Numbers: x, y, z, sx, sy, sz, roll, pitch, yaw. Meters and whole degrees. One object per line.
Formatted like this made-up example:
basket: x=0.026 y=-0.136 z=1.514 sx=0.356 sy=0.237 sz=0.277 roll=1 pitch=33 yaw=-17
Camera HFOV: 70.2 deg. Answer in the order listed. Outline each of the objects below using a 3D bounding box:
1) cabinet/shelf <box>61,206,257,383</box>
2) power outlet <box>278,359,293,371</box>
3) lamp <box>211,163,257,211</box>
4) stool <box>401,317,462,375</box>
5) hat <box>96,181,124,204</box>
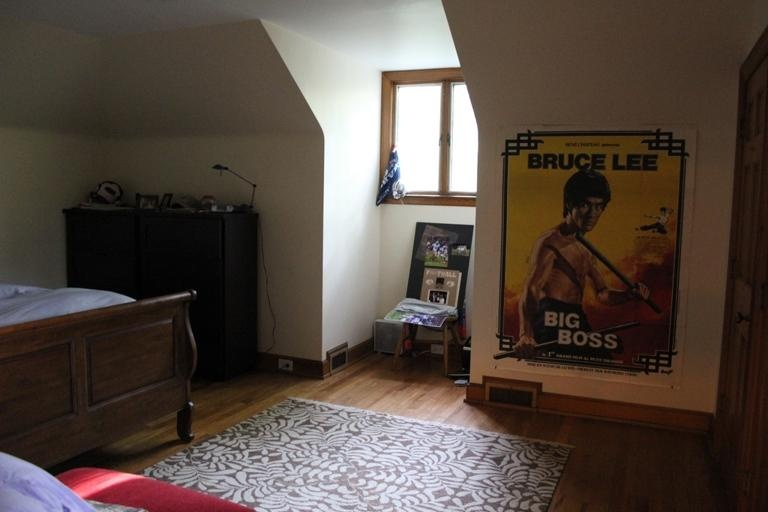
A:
cabinet/shelf: x=-2.172 y=0.369 z=5.406 sx=1.849 sy=1.622 sz=0.745 roll=3 pitch=4 yaw=15
power outlet: x=-0.923 y=1.027 z=5.172 sx=0.121 sy=0.082 sz=0.062 roll=3 pitch=3 yaw=23
lamp: x=-1.412 y=-0.664 z=5.228 sx=0.438 sy=0.420 sz=0.115 roll=4 pitch=8 yaw=31
stool: x=0.405 y=0.803 z=5.430 sx=0.646 sy=0.459 sz=0.544 roll=5 pitch=0 yaw=25
hat: x=-2.725 y=-0.641 z=5.486 sx=0.251 sy=0.217 sz=0.186 roll=-11 pitch=51 yaw=-41
